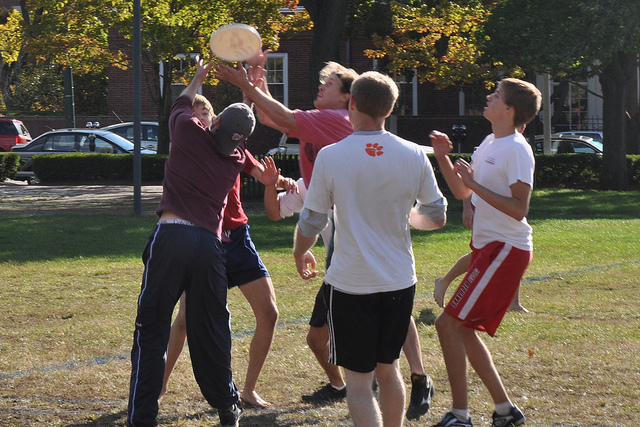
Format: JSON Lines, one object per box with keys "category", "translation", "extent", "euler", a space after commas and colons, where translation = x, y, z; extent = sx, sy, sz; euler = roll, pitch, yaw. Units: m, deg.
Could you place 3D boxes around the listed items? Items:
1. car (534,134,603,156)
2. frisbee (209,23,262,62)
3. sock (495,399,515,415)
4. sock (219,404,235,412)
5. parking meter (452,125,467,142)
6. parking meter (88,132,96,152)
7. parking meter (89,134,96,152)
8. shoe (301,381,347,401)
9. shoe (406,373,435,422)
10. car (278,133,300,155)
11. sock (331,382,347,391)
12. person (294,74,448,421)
{"category": "car", "translation": [8.464, -2.344, 26.509], "extent": [1.495, 0.624, 3.261], "euler": [0, 4, -3]}
{"category": "frisbee", "translation": [-0.904, -1.857, 8.586], "extent": [0.490, 0.103, 0.444], "euler": [-12, -41, 4]}
{"category": "sock", "translation": [1.856, 1.957, 8.052], "extent": [0.188, 0.158, 0.115], "euler": [10, -2, 2]}
{"category": "sock", "translation": [-0.939, 1.978, 8.061], "extent": [0.078, 0.068, 0.073], "euler": [-1, 0, 7]}
{"category": "parking meter", "translation": [4.836, -2.894, 27.649], "extent": [0.696, 0.829, 0.321], "euler": [-2, -16, 7]}
{"category": "parking meter", "translation": [-7.271, -2.293, 25.365], "extent": [0.238, 0.602, 0.211], "euler": [-1, 4, -16]}
{"category": "parking meter", "translation": [-7.260, -2.260, 25.335], "extent": [0.155, 0.540, 0.137], "euler": [-1, 4, -15]}
{"category": "shoe", "translation": [0.020, 1.929, 8.697], "extent": [0.468, 0.168, 0.239], "euler": [-1, 4, -15]}
{"category": "shoe", "translation": [1.065, 1.918, 8.368], "extent": [0.388, 0.490, 0.162], "euler": [-3, 5, -41]}
{"category": "car", "translation": [-1.125, -2.443, 27.969], "extent": [0.690, 0.691, 2.338], "euler": [0, 4, -3]}
{"category": "sock", "translation": [0.213, 1.893, 8.655], "extent": [0.108, 0.026, 0.112], "euler": [-1, -1, 32]}
{"category": "person", "translation": [0.461, 0.325, 7.654], "extent": [1.379, 3.328, 0.603], "euler": [0, 4, 4]}
